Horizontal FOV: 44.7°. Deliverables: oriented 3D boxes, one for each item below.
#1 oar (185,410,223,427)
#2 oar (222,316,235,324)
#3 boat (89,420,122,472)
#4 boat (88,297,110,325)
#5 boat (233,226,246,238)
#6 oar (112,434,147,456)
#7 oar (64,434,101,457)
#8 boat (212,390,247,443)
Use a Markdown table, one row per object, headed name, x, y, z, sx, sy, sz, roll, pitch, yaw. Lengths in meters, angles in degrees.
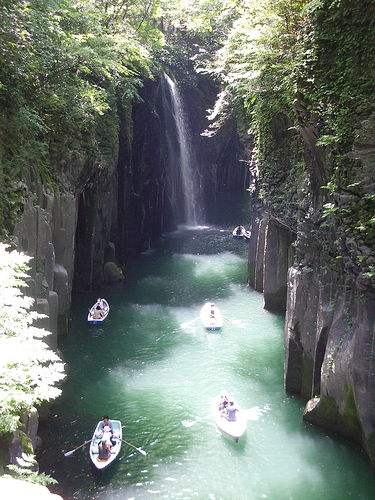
| name | x | y | z | sx | sy | sz | roll | pitch | yaw |
| --- | --- | --- | --- | --- | --- | --- | --- | --- | --- |
| oar | 0.495 | 5.050 | 13.660 | 1.276 | 0.062 | 0.223 | -8 | 34 | -42 |
| oar | 1.943 | 3.340 | 21.560 | 0.197 | 0.005 | 0.927 | -8 | 15 | -34 |
| boat | -2.179 | 5.156 | 12.163 | 0.408 | 0.411 | 1.303 | 0 | 13 | -2 |
| boat | -4.281 | 2.942 | 21.671 | 0.515 | 0.377 | 1.691 | 0 | 23 | -3 |
| boat | 5.093 | -1.711 | 45.134 | 0.791 | 0.442 | 1.197 | -3 | 54 | 9 |
| oar | -1.521 | 5.310 | 12.476 | 0.994 | 0.045 | 0.110 | 27 | 36 | 32 |
| oar | -2.891 | 5.327 | 12.418 | 1.428 | 0.082 | 0.169 | -18 | 49 | -44 |
| boat | 1.232 | 4.839 | 13.519 | 0.887 | 0.694 | 1.987 | -1 | 12 | -4 |
